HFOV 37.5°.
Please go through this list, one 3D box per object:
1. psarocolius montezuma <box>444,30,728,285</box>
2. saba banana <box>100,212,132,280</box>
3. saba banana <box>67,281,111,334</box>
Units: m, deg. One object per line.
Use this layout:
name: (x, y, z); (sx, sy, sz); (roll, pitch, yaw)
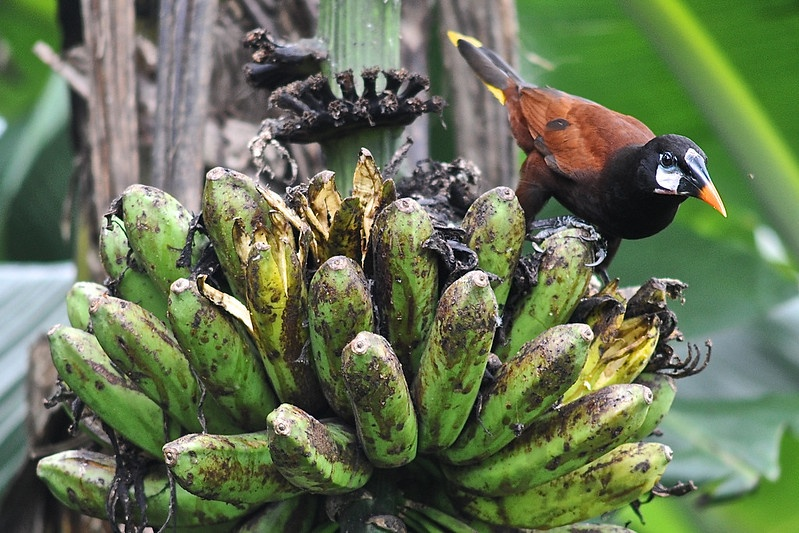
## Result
psarocolius montezuma: (0.892, -0.554, 5.489); (0.564, 0.572, 1.368); (11, 31, -48)
saba banana: (-1.238, -0.082, 5.089); (0.117, 0.274, 0.085); (-2, -6, -1)
saba banana: (-1.355, 0.165, 5.174); (0.137, 0.260, 0.185); (-3, 6, -24)
